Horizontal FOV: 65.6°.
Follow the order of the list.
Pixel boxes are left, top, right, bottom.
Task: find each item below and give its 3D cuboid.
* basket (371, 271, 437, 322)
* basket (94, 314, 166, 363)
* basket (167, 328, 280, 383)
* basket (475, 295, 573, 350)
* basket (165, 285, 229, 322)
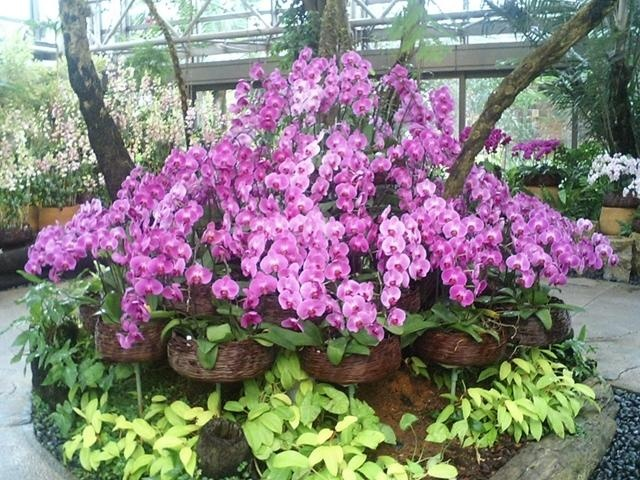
[{"bbox_3d":[0.496,0.263,2.506,0.191,0.160,0.225,-26,3,13],"label":"basket"},{"bbox_3d":[-0.864,0.427,2.213,0.204,0.129,0.244,3,0,29],"label":"basket"},{"bbox_3d":[-0.436,0.517,2.116,0.264,0.117,0.251,2,-1,-25],"label":"basket"},{"bbox_3d":[1.086,0.425,2.476,0.284,0.126,0.297,-1,5,-5],"label":"basket"},{"bbox_3d":[-0.553,0.276,2.240,0.176,0.138,0.155,5,-4,-37],"label":"basket"}]
